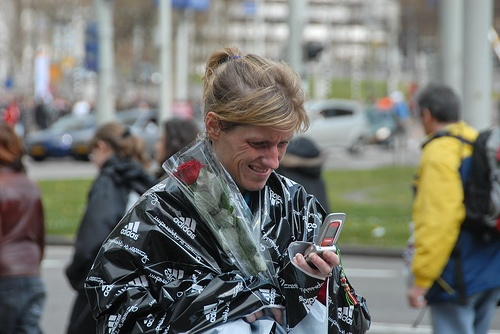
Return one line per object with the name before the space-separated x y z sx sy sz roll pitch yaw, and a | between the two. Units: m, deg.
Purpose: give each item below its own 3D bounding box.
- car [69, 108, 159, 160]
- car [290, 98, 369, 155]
car | -3.541 -0.757 27.431 2.706 1.028 1.281 2 1 -1
car | 2.003 -0.960 28.227 1.983 1.054 1.181 2 -1 -17
